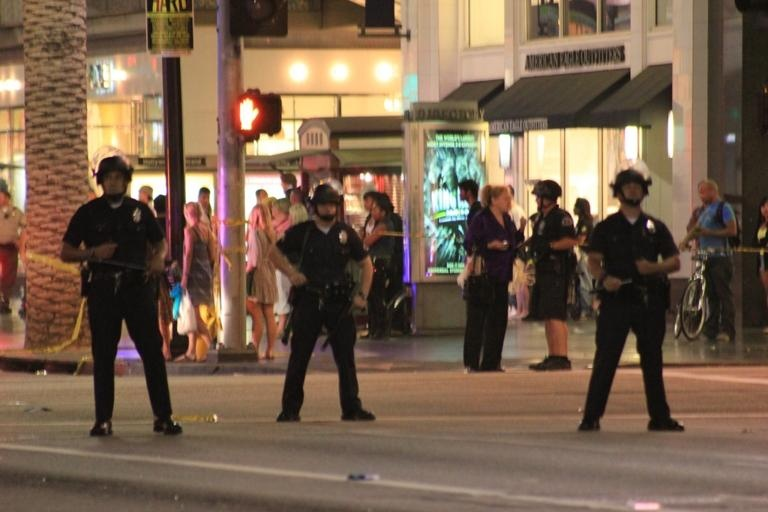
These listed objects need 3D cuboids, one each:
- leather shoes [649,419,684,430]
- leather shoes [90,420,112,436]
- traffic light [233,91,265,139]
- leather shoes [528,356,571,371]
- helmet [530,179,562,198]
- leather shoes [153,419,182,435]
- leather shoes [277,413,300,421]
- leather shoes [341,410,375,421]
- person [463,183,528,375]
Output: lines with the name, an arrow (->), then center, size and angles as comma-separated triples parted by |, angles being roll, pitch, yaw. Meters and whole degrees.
leather shoes -> 3.768, 2.202, 21.722 | 0.466, 0.205, 0.168 | -2, 0, 1
leather shoes -> -3.725, 2.263, 21.699 | 0.268, 0.256, 0.164 | 4, -5, 5
traffic light -> -2.219, -2.327, 26.745 | 0.462, 0.804, 0.222 | 0, 2, 4
leather shoes -> 2.663, 1.655, 25.877 | 0.635, 0.252, 0.241 | 1, -2, 1
helmet -> 2.606, -1.094, 25.745 | 0.365, 0.283, 0.274 | -3, 6, -11
leather shoes -> -2.852, 2.239, 21.688 | 0.346, 0.168, 0.181 | 1, 4, -3
leather shoes -> -1.266, 2.162, 22.354 | 0.152, 0.079, 0.198 | 4, 3, 28
leather shoes -> -0.326, 2.161, 22.443 | 0.457, 0.193, 0.169 | -3, -2, 0
person -> 1.702, 0.329, 25.824 | 0.817, 2.927, 0.377 | 0, 2, -1
